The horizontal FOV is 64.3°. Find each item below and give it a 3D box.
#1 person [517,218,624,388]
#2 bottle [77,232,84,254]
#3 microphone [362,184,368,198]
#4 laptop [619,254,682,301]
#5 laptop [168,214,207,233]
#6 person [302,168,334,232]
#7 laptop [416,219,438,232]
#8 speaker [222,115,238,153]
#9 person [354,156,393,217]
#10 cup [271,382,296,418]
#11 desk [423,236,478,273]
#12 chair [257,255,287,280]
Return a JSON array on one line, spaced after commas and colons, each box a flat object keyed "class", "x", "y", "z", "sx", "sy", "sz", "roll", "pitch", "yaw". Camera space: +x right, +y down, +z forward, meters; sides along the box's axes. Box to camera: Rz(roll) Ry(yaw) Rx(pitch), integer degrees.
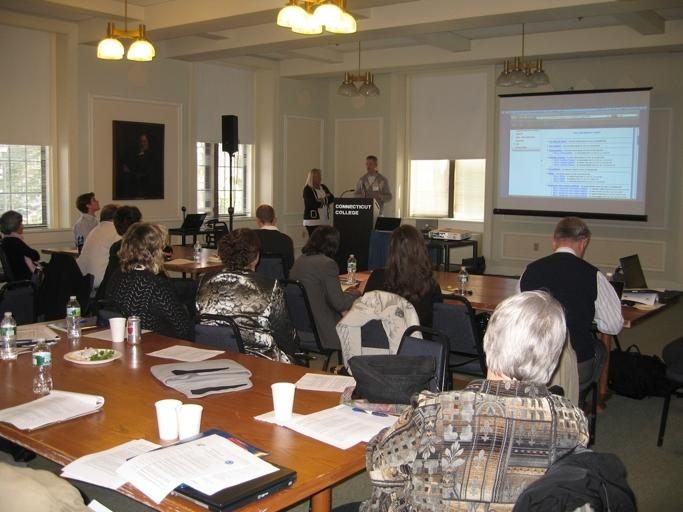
[{"class": "person", "x": 1.652, "y": 0.539, "z": 3.913, "sx": 0.689, "sy": 1.560, "sz": 0.673, "roll": 7, "pitch": 23, "yaw": 36}, {"class": "bottle", "x": -3.283, "y": -0.167, "z": 6.831, "sx": 0.037, "sy": 0.277, "sz": 0.237, "roll": -6, "pitch": 13, "yaw": -43}, {"class": "microphone", "x": 0.442, "y": -1.183, "z": 9.930, "sx": 0.042, "sy": 0.158, "sz": 0.109, "roll": -2, "pitch": 0, "yaw": -39}, {"class": "laptop", "x": 2.702, "y": 0.187, "z": 4.732, "sx": 0.427, "sy": 0.367, "sz": 0.567, "roll": -1, "pitch": 4, "yaw": 36}, {"class": "laptop", "x": -2.596, "y": -0.550, "z": 9.173, "sx": 0.397, "sy": 0.268, "sz": 0.429, "roll": 8, "pitch": 7, "yaw": 36}, {"class": "person", "x": -0.437, "y": -1.007, "z": 10.220, "sx": 0.548, "sy": 1.246, "sz": 0.771, "roll": 0, "pitch": 7, "yaw": -4}, {"class": "laptop", "x": 1.546, "y": -0.615, "z": 9.951, "sx": 0.402, "sy": 0.262, "sz": 0.408, "roll": 8, "pitch": 17, "yaw": 31}, {"class": "speaker", "x": -1.927, "y": -2.081, "z": 9.329, "sx": 0.306, "sy": 0.674, "sz": 0.140, "roll": 3, "pitch": 7, "yaw": 18}, {"class": "person", "x": 0.573, "y": -1.300, "z": 9.895, "sx": 0.533, "sy": 1.037, "sz": 0.698, "roll": -6, "pitch": 10, "yaw": -42}, {"class": "cup", "x": -0.239, "y": 0.600, "z": 2.309, "sx": 0.127, "sy": 0.135, "sz": 0.133, "roll": 0, "pitch": -1, "yaw": 0}, {"class": "desk", "x": 1.600, "y": -0.090, "z": 8.141, "sx": 0.648, "sy": 0.505, "sz": 0.651, "roll": 6, "pitch": 9, "yaw": 44}, {"class": "chair", "x": -0.682, "y": 0.106, "z": 5.388, "sx": 0.175, "sy": 0.307, "sz": 0.193, "roll": 6, "pitch": 14, "yaw": 16}]
